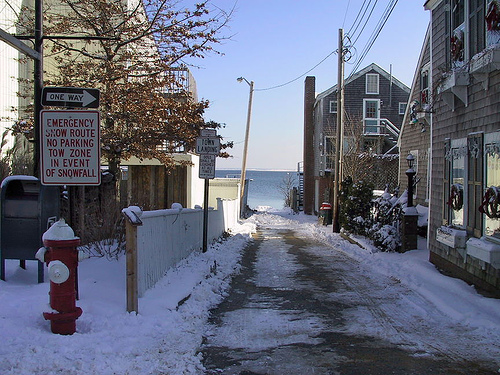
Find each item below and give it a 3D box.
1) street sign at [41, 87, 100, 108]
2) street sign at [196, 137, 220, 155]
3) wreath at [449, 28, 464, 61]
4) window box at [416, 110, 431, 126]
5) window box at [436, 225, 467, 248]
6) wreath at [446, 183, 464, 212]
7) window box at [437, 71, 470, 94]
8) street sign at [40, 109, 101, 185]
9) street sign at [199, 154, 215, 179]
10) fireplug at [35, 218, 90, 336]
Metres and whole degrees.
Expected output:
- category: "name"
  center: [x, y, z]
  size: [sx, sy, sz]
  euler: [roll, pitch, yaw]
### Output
- category: "street sign"
  center: [-3.217, -1.628, 8.945]
  size: [1.065, 0.367, 0.265]
  euler: [6, 11, 5]
- category: "street sign"
  center: [-1.268, -1.264, 14.889]
  size: [0.682, 0.596, 0.098]
  euler: [1, 7, -1]
- category: "wreath"
  center: [5.414, -3.770, 13.057]
  size: [0.186, 0.858, 0.738]
  euler: [4, 11, 5]
- category: "window box"
  center: [6.258, -2.562, 18.017]
  size: [0.345, 0.515, 0.713]
  euler: [2, 4, 9]
- category: "window box"
  center: [4.992, 1.220, 12.514]
  size: [0.308, 0.490, 0.868]
  euler: [-2, 6, -9]
- category: "wreath"
  center: [5.118, 0.234, 12.352]
  size: [0.460, 0.492, 0.378]
  euler: [-15, -24, 27]
- category: "window box"
  center: [5.091, -2.603, 12.238]
  size: [0.270, 0.294, 0.557]
  euler: [2, -2, -6]
- category: "street sign"
  center: [-3.174, -0.701, 8.736]
  size: [1.053, 1.648, 0.079]
  euler: [0, -1, -6]
- category: "street sign"
  center: [-1.284, -0.657, 14.977]
  size: [0.599, 1.066, 0.102]
  euler: [2, 9, 2]
- category: "fireplug"
  center: [-3.095, 1.411, 8.299]
  size: [0.595, 2.078, 0.657]
  euler: [1, -1, -36]
